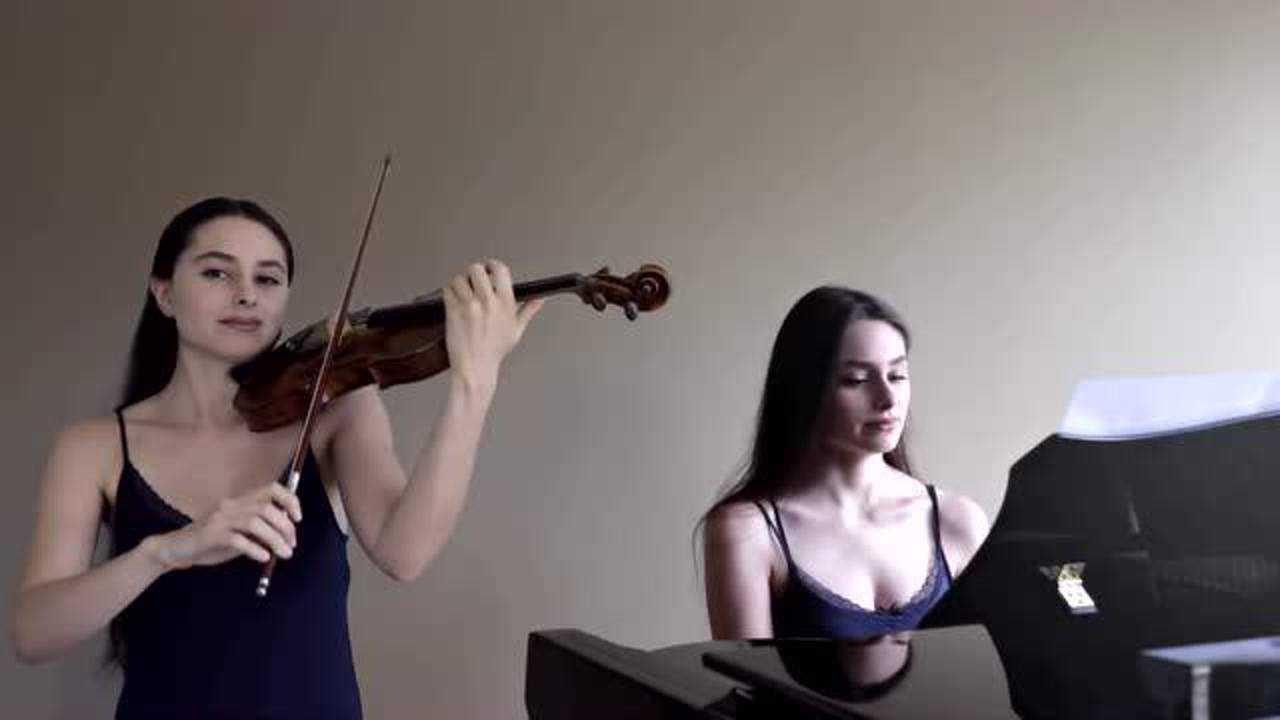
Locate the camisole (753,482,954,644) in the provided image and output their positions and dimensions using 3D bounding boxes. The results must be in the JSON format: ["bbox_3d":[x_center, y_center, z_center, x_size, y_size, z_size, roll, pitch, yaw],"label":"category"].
[{"bbox_3d":[0.640,0.682,3.365,0.616,0.240,0.590,-2,19,8],"label":"camisole"}]
